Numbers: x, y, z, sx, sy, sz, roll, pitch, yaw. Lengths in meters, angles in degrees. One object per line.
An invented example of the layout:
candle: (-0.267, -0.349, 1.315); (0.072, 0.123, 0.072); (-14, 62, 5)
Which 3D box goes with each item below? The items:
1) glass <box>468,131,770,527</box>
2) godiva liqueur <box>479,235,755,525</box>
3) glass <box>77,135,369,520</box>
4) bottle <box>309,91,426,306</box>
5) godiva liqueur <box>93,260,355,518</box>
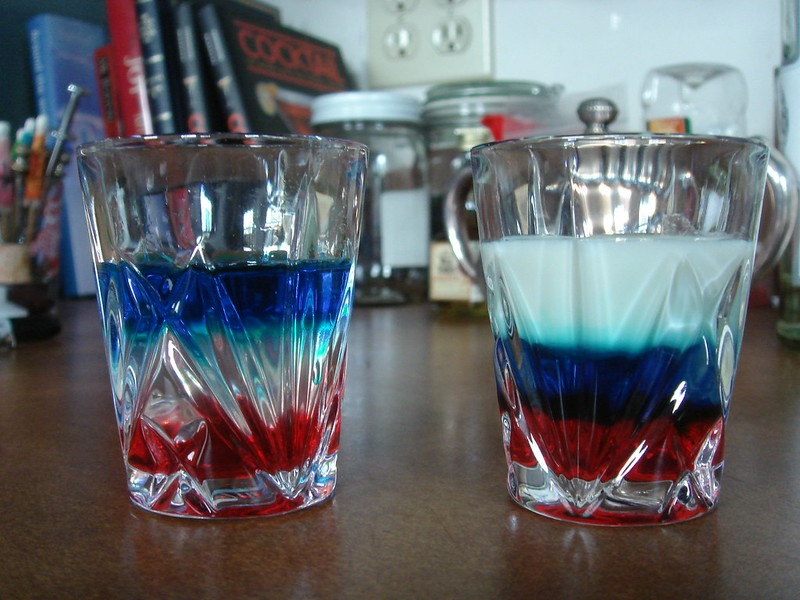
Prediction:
glass: (0.102, 0.015, 0.349); (0.120, 0.146, 0.119); (-1, 1, 20)
godiva liqueur: (0.086, 0.035, 0.365); (0.113, 0.123, 0.114); (-1, -3, 3)
glass: (-0.082, 0.013, 0.368); (0.125, 0.154, 0.134); (-2, 5, 2)
bottle: (-0.046, -0.148, 1.200); (0.228, 0.301, 0.233); (-4, 4, 0)
godiva liqueur: (-0.081, 0.035, 0.366); (0.134, 0.119, 0.129); (4, -10, -39)
